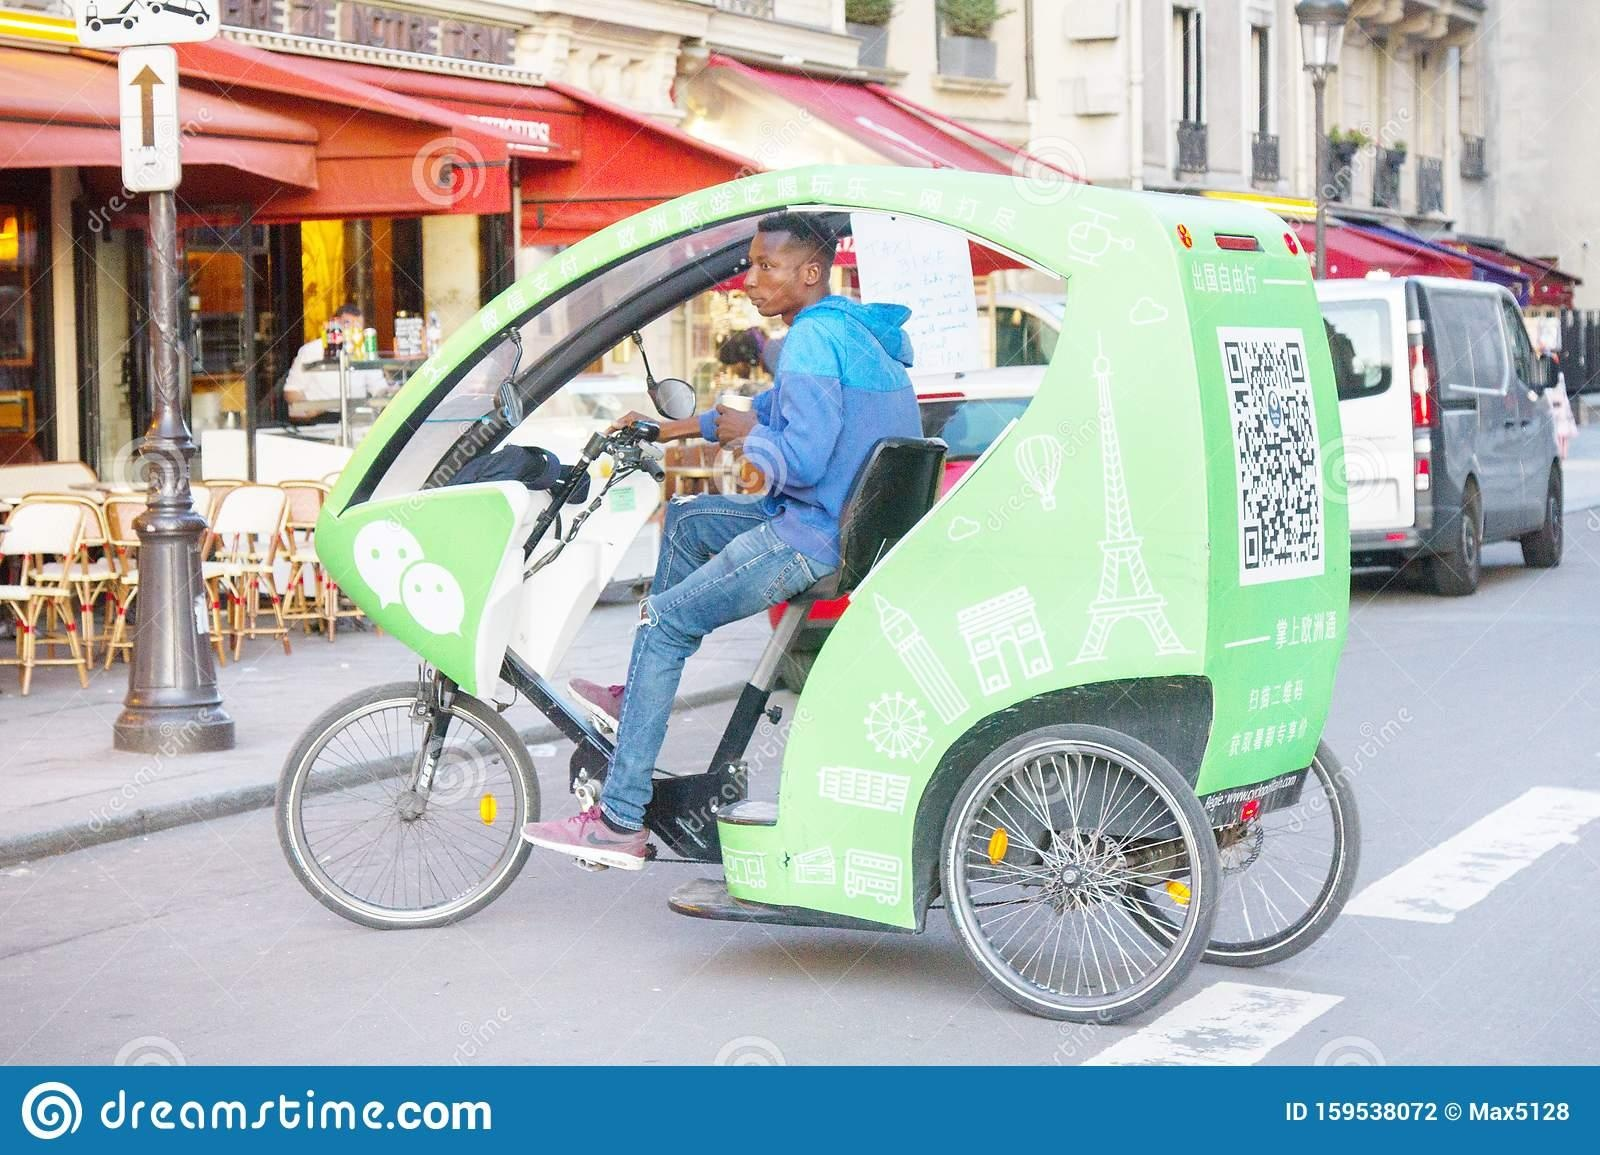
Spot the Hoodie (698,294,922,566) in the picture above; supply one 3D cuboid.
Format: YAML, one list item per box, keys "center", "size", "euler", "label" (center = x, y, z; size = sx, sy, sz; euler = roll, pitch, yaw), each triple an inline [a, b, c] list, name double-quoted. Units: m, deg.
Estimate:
- center: [0.006, -0.543, 6.896]
  size: [0.634, 0.972, 0.757]
  euler: [-6, 14, -33]
  label: "Hoodie"

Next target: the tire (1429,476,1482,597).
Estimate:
- center: [5.029, -0.348, 15.076]
  size: [0.259, 0.926, 0.841]
  euler: [3, 1, 21]
  label: "tire"

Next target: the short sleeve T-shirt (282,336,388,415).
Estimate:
- center: [-3.552, -1.516, 15.098]
  size: [0.568, 0.715, 0.663]
  euler: [0, -8, 15]
  label: "short sleeve T-shirt"

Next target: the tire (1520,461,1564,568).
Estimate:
- center: [6.617, -0.617, 17.497]
  size: [0.277, 0.983, 0.885]
  euler: [-5, -11, 18]
  label: "tire"

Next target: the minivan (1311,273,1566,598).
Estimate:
- center: [4.812, -1.265, 16.120]
  size: [1.911, 2.390, 4.086]
  euler: [2, 9, 33]
  label: "minivan"

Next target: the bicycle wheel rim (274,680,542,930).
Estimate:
- center: [-1.465, 0.894, 7.387]
  size: [0.993, 1.144, 0.167]
  euler: [-1, 30, -17]
  label: "bicycle wheel rim"

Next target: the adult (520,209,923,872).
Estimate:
- center: [-0.278, -0.156, 6.888]
  size: [1.361, 2.286, 1.140]
  euler: [1, -2, 16]
  label: "adult"
